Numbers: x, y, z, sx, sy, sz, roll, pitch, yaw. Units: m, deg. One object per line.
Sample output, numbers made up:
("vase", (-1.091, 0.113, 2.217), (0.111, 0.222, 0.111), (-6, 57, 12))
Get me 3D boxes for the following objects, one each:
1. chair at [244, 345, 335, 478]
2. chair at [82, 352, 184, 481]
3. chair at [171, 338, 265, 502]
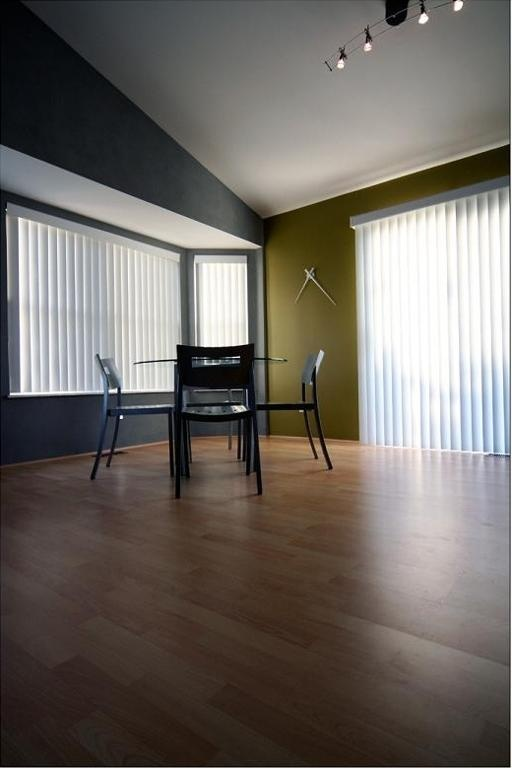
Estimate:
("chair", (0.324, 0.223, 3.770), (0.626, 1.505, 0.678), (1, -3, -9))
("chair", (-0.888, 0.226, 3.535), (0.518, 0.988, 0.628), (-3, 4, 8))
("chair", (-0.252, 0.176, 3.266), (0.543, 0.665, 1.778), (-1, -1, -6))
